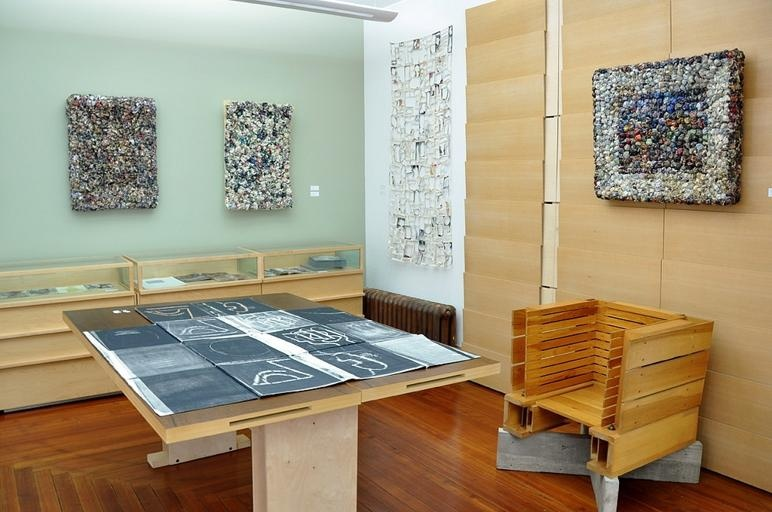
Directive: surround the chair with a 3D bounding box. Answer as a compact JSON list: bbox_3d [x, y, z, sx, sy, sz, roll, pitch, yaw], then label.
[{"bbox_3d":[1.625,0.999,4.501,1.793,1.522,1.498,-2,5,-34],"label":"chair"}]
